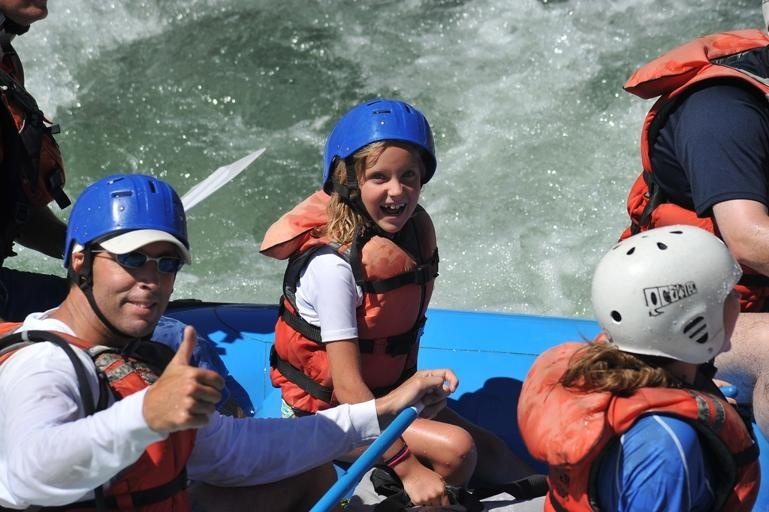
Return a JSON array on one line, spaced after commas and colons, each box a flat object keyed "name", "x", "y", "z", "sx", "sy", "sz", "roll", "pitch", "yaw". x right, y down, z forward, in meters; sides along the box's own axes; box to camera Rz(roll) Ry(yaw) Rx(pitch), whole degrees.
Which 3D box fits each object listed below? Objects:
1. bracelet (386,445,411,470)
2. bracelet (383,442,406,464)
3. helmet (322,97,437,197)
[{"name": "bracelet", "x": 0.085, "y": 1.151, "z": 6.404, "sx": 0.148, "sy": 0.055, "sz": 0.126, "roll": -28, "pitch": 4, "yaw": 20}, {"name": "bracelet", "x": 0.066, "y": 1.141, "z": 6.410, "sx": 0.126, "sy": 0.043, "sz": 0.106, "roll": -34, "pitch": 21, "yaw": -35}, {"name": "helmet", "x": -0.084, "y": -0.651, "z": 6.699, "sx": 0.497, "sy": 0.377, "sz": 0.647, "roll": 12, "pitch": -35, "yaw": -32}]
